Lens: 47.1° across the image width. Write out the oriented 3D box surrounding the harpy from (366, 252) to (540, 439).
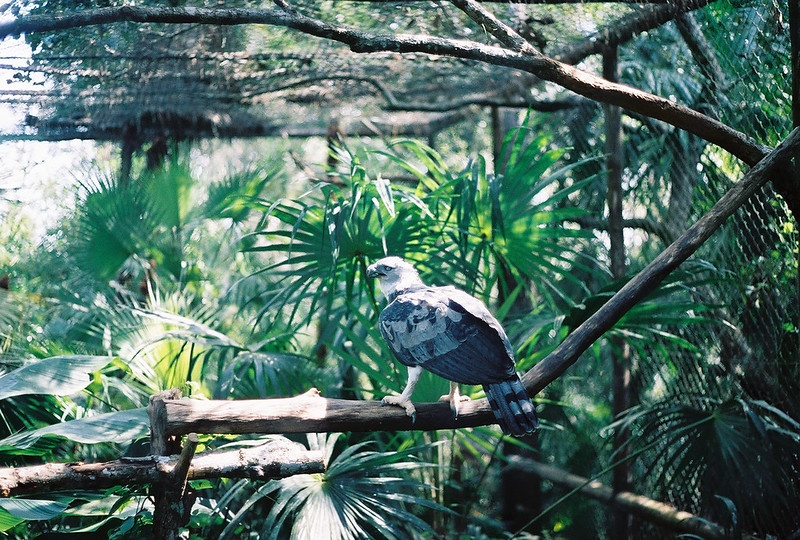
[{"bbox_3d":[0.316,0.480,6.201,1.258,1.087,0.622,3,2,31],"label":"harpy"}]
